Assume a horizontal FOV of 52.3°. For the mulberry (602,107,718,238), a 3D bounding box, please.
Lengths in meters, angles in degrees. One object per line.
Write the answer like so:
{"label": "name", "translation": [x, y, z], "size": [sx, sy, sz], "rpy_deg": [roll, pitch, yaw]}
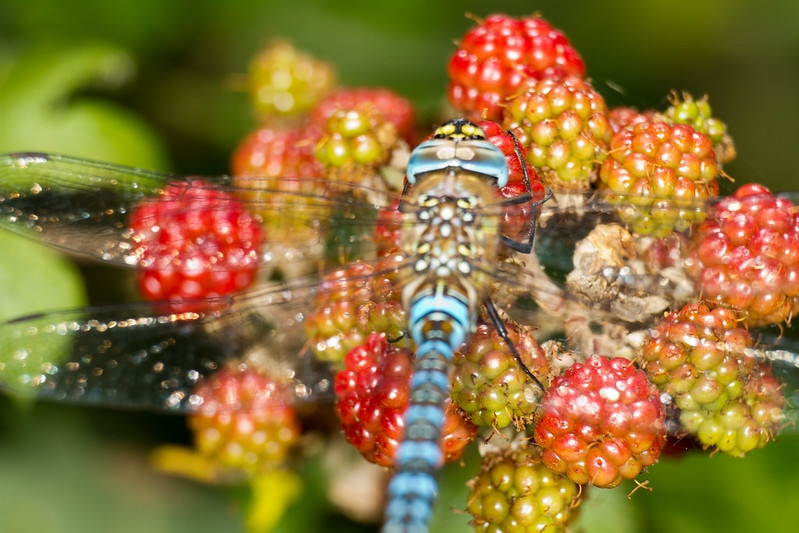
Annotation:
{"label": "mulberry", "translation": [0.444, -0.145, 1.394], "size": [0.167, 0.112, 0.210], "rpy_deg": [4, 85, 14]}

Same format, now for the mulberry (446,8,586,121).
{"label": "mulberry", "translation": [0.240, -0.382, 1.557], "size": [0.275, 0.180, 0.225], "rpy_deg": [8, 42, 21]}

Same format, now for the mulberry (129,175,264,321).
{"label": "mulberry", "translation": [-0.415, -0.044, 1.707], "size": [0.255, 0.203, 0.196], "rpy_deg": [-9, 98, 44]}

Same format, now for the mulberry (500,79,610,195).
{"label": "mulberry", "translation": [0.301, -0.234, 1.497], "size": [0.167, 0.141, 0.203], "rpy_deg": [-19, 93, 30]}

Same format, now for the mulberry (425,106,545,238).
{"label": "mulberry", "translation": [0.169, -0.153, 1.425], "size": [0.154, 0.197, 0.080], "rpy_deg": [21, 46, 29]}

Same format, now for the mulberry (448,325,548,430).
{"label": "mulberry", "translation": [0.164, 0.189, 1.397], "size": [0.156, 0.109, 0.172], "rpy_deg": [25, 68, -14]}

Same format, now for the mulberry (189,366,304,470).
{"label": "mulberry", "translation": [-0.304, 0.295, 1.652], "size": [0.229, 0.149, 0.251], "rpy_deg": [-7, 46, -8]}

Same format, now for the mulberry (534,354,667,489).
{"label": "mulberry", "translation": [0.324, 0.251, 1.325], "size": [0.178, 0.120, 0.215], "rpy_deg": [1, 89, 21]}

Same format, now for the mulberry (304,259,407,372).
{"label": "mulberry", "translation": [-0.070, 0.101, 1.464], "size": [0.200, 0.091, 0.243], "rpy_deg": [-18, 39, 1]}

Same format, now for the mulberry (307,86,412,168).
{"label": "mulberry", "translation": [-0.073, -0.233, 1.506], "size": [0.130, 0.077, 0.147], "rpy_deg": [3, 36, 35]}
